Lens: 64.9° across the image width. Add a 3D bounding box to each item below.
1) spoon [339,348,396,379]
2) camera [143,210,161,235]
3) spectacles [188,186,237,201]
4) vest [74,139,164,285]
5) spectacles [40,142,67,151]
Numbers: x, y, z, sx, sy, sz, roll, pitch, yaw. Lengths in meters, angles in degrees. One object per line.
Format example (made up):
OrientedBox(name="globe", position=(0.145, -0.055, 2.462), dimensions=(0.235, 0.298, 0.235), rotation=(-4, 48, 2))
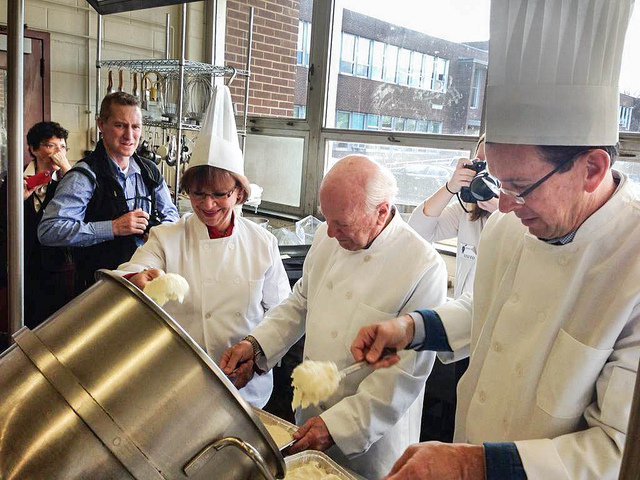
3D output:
OrientedBox(name="spoon", position=(0.152, 0.376, 1.535), dimensions=(0.199, 0.055, 0.025), rotation=(-36, -11, 14))
OrientedBox(name="camera", position=(-0.860, -0.090, 2.538), dimensions=(0.079, 0.045, 0.116), rotation=(-18, 30, 45))
OrientedBox(name="spectacles", position=(-0.435, -0.185, 2.026), dimensions=(0.196, 0.051, 0.072), rotation=(-1, 17, -15))
OrientedBox(name="vest", position=(-1.119, -0.179, 2.731), dimensions=(0.562, 0.809, 0.237), rotation=(13, -9, -40))
OrientedBox(name="spectacles", position=(-1.690, -0.597, 3.205), dimensions=(0.063, 0.055, 0.181), rotation=(10, 18, 22))
